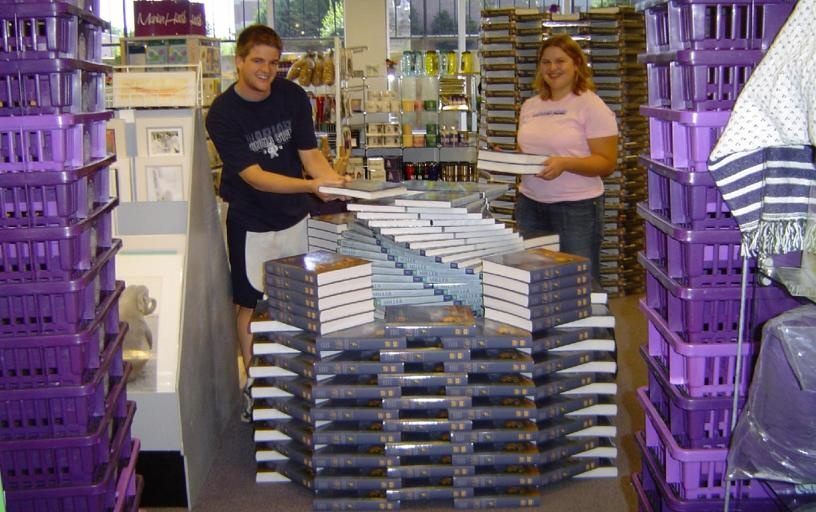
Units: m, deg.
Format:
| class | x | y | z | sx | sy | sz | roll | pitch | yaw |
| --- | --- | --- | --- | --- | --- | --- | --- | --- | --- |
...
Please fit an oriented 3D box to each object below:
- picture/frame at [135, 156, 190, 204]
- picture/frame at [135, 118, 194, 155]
| class | x | y | z | sx | sy | sz | roll | pitch | yaw |
| --- | --- | --- | --- | --- | --- | --- | --- | --- | --- |
| picture/frame | -1.449 | -0.442 | 4.094 | 0.277 | 0.287 | 0.064 | 3 | 3 | 6 |
| picture/frame | -1.434 | -0.672 | 4.118 | 0.013 | 0.261 | 0.360 | 6 | 11 | 38 |
